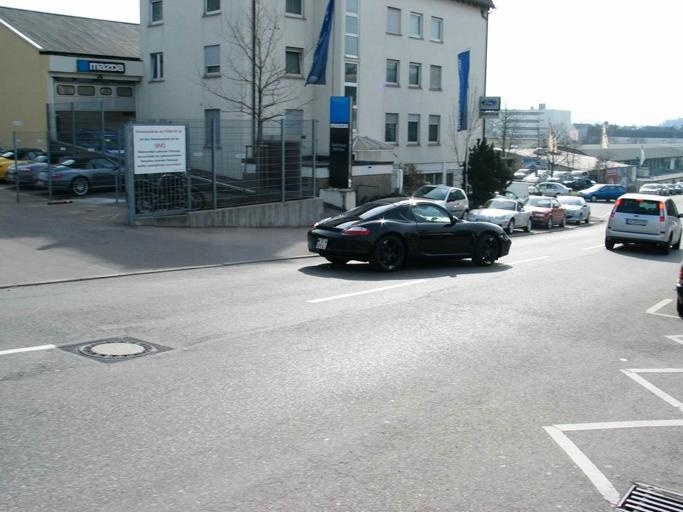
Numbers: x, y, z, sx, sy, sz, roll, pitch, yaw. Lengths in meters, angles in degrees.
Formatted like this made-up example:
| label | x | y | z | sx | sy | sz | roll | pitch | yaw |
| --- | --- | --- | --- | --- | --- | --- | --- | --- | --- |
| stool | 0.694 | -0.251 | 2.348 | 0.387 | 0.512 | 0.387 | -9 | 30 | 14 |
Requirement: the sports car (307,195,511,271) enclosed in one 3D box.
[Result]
| label | x | y | z | sx | sy | sz | roll | pitch | yaw |
| --- | --- | --- | --- | --- | --- | --- | --- | --- | --- |
| sports car | 1.667 | -0.593 | 16.173 | 6.511 | 1.563 | 3.170 | 0 | 4 | -40 |
